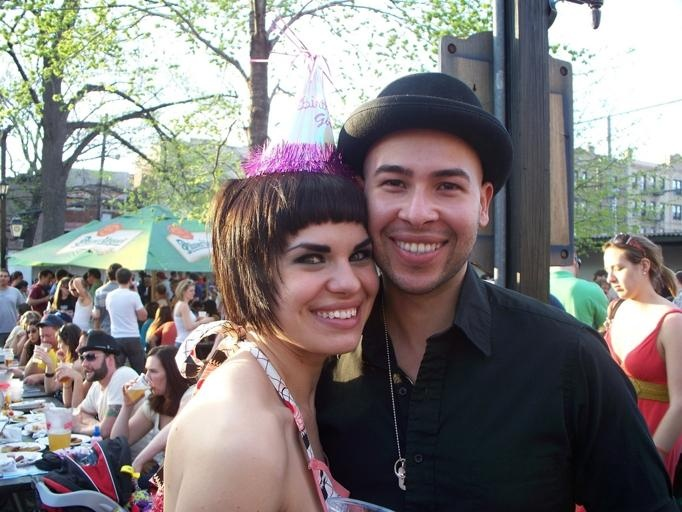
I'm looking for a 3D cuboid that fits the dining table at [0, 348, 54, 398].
[{"bbox_3d":[-3.977,1.486,8.963,0.236,0.524,0.327,-9,-37,46],"label":"dining table"}]

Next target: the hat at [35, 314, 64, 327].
[{"bbox_3d":[-3.817,0.870,9.388,0.186,0.155,0.290,2,-13,12],"label":"hat"}]

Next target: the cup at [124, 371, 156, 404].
[{"bbox_3d":[-1.937,1.271,6.793,0.238,0.273,0.248,35,-3,2],"label":"cup"}]
